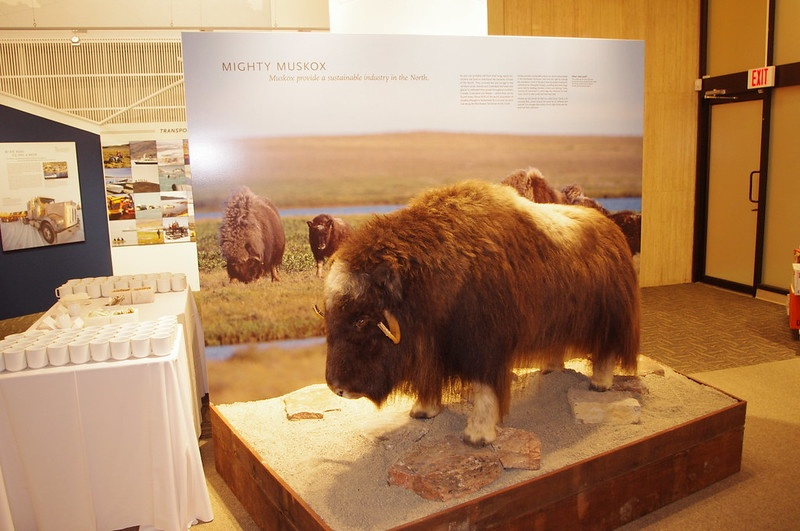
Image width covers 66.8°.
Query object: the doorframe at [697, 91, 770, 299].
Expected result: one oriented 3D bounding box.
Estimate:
[{"bbox_3d":[4.908,-1.073,9.014,0.309,2.669,0.947,-8,13,-20],"label":"doorframe"}]
